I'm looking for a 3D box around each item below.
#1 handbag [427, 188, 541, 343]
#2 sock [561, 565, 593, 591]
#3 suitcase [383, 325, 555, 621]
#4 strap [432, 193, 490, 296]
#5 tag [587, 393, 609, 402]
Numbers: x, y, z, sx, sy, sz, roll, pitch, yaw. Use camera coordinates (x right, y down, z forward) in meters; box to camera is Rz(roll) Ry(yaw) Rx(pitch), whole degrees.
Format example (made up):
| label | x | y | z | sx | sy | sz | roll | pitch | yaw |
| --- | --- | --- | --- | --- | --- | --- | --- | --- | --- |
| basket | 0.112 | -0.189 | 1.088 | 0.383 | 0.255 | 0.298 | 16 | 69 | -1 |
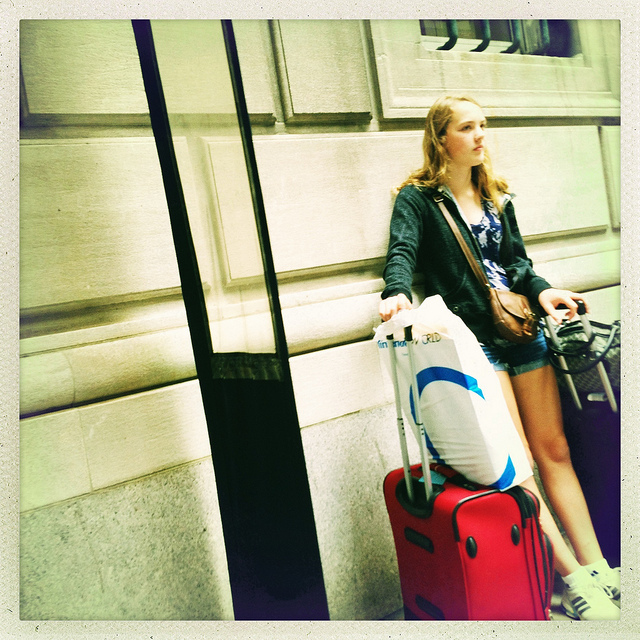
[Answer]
| label | x | y | z | sx | sy | sz | roll | pitch | yaw |
| --- | --- | --- | --- | --- | --- | --- | --- | --- | --- |
| handbag | 0.681 | -0.244 | 2.539 | 0.385 | 0.703 | 0.207 | -7 | 8 | 24 |
| sock | 1.079 | 1.094 | 2.499 | 0.108 | 0.081 | 0.090 | -42 | -6 | 32 |
| suitcase | 0.563 | 0.683 | 2.335 | 0.441 | 1.417 | 0.543 | -14 | 11 | -26 |
| strap | 0.607 | -0.311 | 2.593 | 0.058 | 0.510 | 0.078 | -20 | -21 | -15 |
| tag | 1.284 | 0.356 | 2.740 | 0.101 | 0.052 | 0.042 | 2 | 0 | 22 |
